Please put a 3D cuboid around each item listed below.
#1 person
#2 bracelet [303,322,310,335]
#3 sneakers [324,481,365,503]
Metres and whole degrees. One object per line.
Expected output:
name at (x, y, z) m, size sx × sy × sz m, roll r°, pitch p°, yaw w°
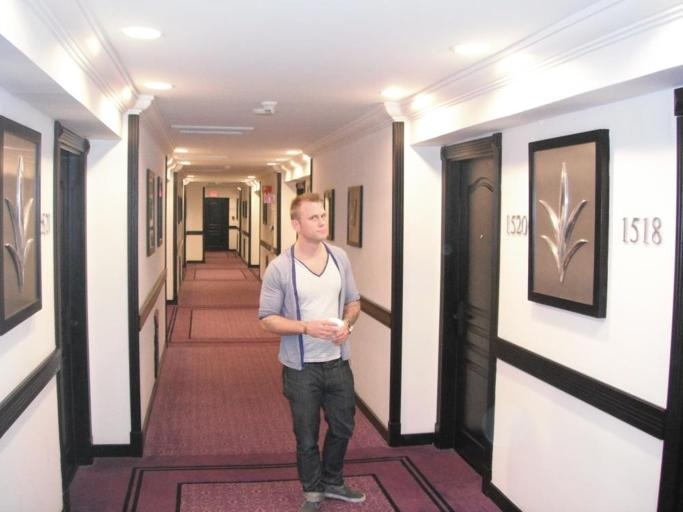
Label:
person at (-0.158, 0.696, 3.405) m, size 0.591 × 2.263 × 0.730 m, roll 5°, pitch 7°, yaw 39°
bracelet at (-0.225, 0.467, 3.132) m, size 0.060 × 0.066 × 0.063 m, roll 3°, pitch 6°, yaw 3°
sneakers at (0.025, 1.727, 3.602) m, size 0.347 × 0.155 × 0.127 m, roll 6°, pitch -7°, yaw 0°
